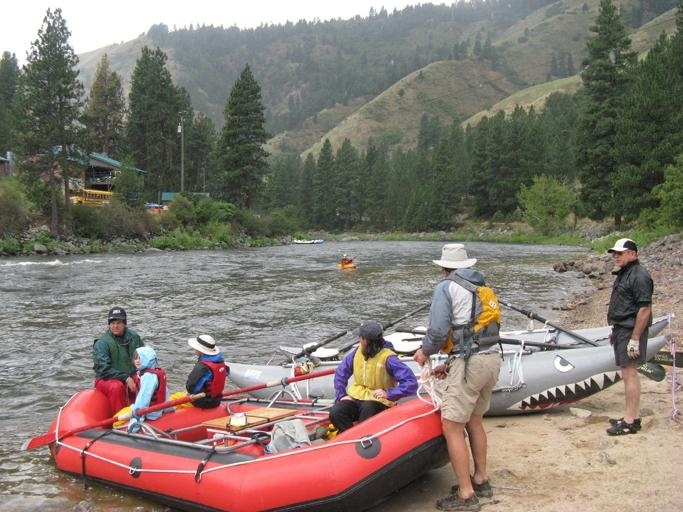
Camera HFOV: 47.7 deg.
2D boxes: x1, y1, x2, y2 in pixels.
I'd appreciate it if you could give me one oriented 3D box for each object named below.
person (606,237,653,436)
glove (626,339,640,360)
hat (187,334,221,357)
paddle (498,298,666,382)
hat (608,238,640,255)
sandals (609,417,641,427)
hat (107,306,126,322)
[{"bbox_3d":[6.352,1.835,17.236,0.831,4.346,0.844,-6,12,-34],"label":"person"},{"bbox_3d":[6.409,2.082,17.156,0.342,0.498,0.374,5,-6,26],"label":"glove"},{"bbox_3d":[-3.140,2.093,17.553,0.539,0.218,0.533,17,22,2],"label":"hat"},{"bbox_3d":[6.035,2.173,19.379,3.113,0.535,0.763,27,-23,4],"label":"paddle"},{"bbox_3d":[6.315,-0.263,17.312,0.589,0.307,0.430,2,-4,3],"label":"hat"},{"bbox_3d":[6.369,3.747,17.437,0.664,0.299,0.275,5,-9,6],"label":"sandals"},{"bbox_3d":[-5.245,1.372,18.076,0.307,0.285,0.490,-3,-13,-2],"label":"hat"}]
